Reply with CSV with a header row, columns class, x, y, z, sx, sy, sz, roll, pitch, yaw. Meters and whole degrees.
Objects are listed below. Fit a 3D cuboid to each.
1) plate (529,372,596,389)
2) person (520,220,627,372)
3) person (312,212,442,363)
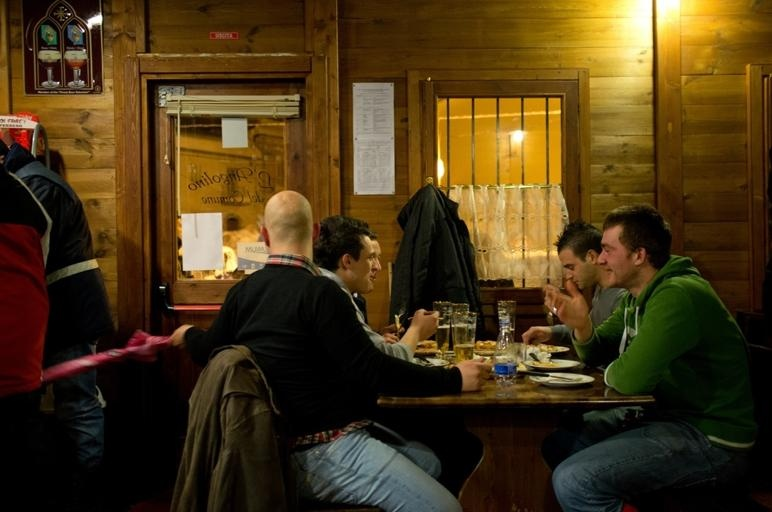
class,x,y,z,sx,sy,sz,roll,pitch,yaw
plate,0.894,0.639,3.581,0.320,0.043,0.229,3,7,27
person,1.338,0.216,4.716,0.664,0.827,0.924,-19,-7,6
person,0.065,0.146,3.978,0.889,0.848,0.618,-3,-5,-11
